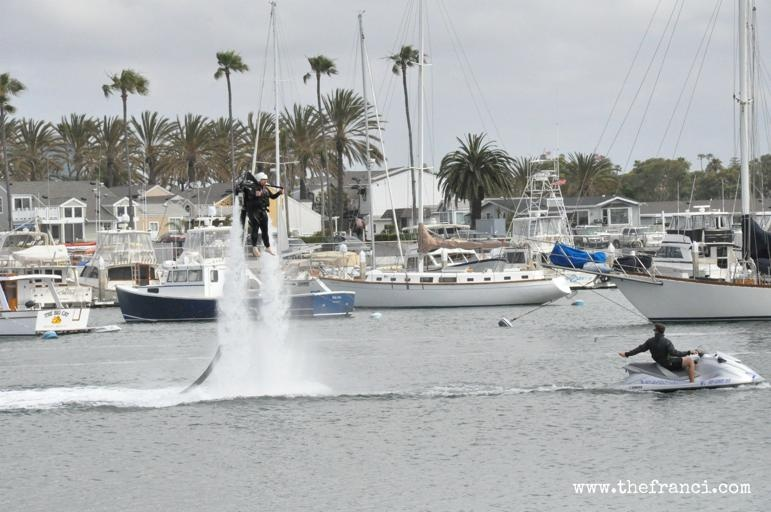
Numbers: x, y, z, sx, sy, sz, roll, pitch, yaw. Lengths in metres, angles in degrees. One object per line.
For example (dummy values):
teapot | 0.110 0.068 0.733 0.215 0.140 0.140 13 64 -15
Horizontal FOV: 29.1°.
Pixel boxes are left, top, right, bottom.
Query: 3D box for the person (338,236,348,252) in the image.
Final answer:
person | -3.115 -0.666 115.901 0.874 1.097 2.850 0 -2 -4

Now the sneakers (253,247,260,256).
sneakers | -6.126 -0.089 70.643 0.247 0.405 0.230 -21 13 -22

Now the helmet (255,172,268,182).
helmet | -5.917 -3.608 70.394 0.509 0.375 0.370 -7 11 28
